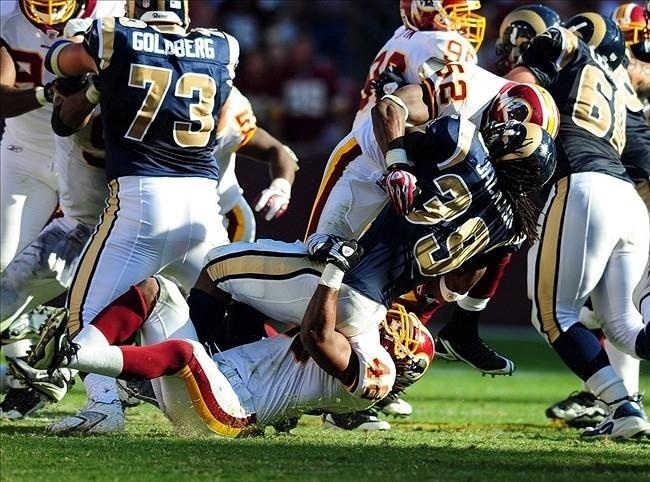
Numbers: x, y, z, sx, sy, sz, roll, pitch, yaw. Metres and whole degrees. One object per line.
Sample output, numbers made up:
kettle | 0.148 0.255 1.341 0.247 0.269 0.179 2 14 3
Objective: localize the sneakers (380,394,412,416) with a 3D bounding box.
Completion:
sneakers | 0.418 0.924 4.691 0.261 0.125 0.092 6 -14 -32

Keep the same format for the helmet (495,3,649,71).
helmet | 1.366 -1.191 5.034 0.581 0.459 0.421 -7 14 4

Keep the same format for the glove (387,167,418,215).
glove | 0.336 -0.253 3.860 0.171 0.098 0.234 1 -19 3

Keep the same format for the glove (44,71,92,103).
glove | -1.263 -0.765 4.154 0.215 0.080 0.070 -26 15 35

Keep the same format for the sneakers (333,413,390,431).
sneakers | 0.181 0.955 4.519 0.328 0.137 0.114 1 -1 -6

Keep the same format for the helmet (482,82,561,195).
helmet | 0.948 -0.522 4.093 0.368 0.609 0.399 1 -4 14

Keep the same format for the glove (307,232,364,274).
glove | 0.067 0.049 3.748 0.178 0.081 0.185 21 14 19

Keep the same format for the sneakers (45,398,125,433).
sneakers | -1.074 0.805 3.899 0.397 0.186 0.135 2 -2 -10

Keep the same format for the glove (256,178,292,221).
glove | -0.277 -0.234 4.612 0.148 0.105 0.249 27 39 -12
